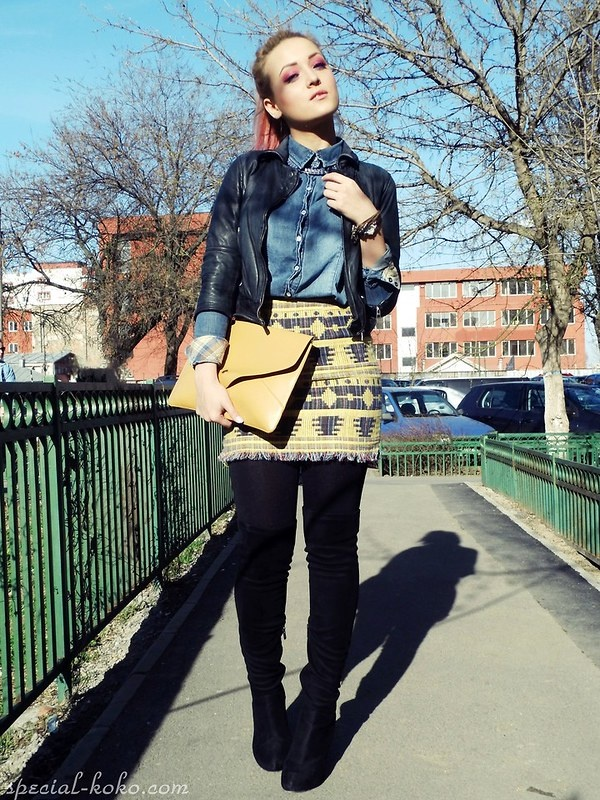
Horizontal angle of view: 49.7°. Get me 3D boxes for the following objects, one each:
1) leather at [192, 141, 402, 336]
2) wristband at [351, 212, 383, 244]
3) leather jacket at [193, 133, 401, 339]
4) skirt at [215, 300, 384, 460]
[{"bbox_3d":[0.013,-0.418,1.794,0.525,0.586,0.307,4,2,-4],"label":"leather"},{"bbox_3d":[0.177,-0.446,1.700,0.072,0.043,0.074,-12,-9,-15],"label":"wristband"},{"bbox_3d":[-0.029,-0.378,1.836,0.474,0.613,0.569,5,10,18],"label":"leather jacket"},{"bbox_3d":[-0.042,-0.024,1.810,0.333,0.473,0.449,2,9,-12],"label":"skirt"}]
